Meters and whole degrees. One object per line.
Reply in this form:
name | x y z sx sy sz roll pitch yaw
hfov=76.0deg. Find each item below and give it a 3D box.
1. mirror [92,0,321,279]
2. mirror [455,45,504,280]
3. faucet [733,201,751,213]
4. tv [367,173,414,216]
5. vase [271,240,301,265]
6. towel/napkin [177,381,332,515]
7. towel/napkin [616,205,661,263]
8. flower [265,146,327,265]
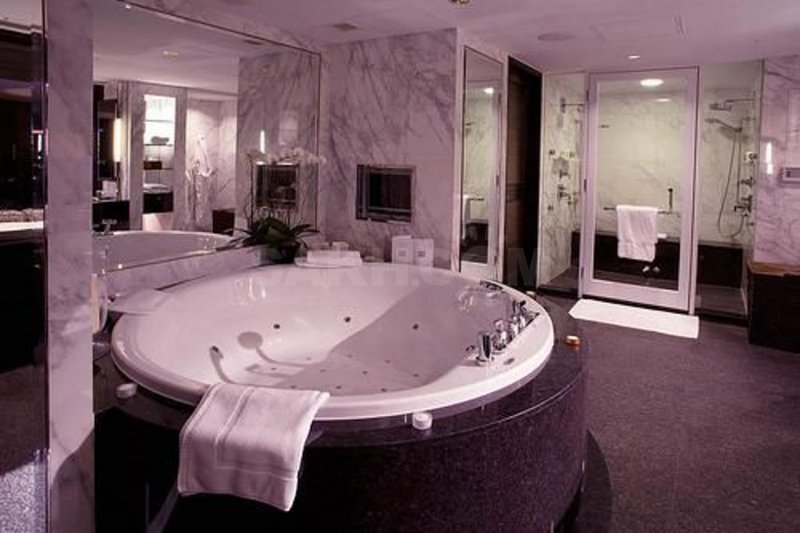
mirror | -1.384 -0.894 3.564 0.076 1.779 1.773 8 12 33
mirror | 0.744 -0.860 4.601 0.262 1.995 0.804 9 16 30
faucet | 3.807 -0.661 5.733 0.214 0.111 0.312 -1 10 32
tv | -0.111 -0.623 4.362 0.537 0.451 0.051 -6 7 -44
vase | -0.914 -0.128 4.113 0.183 0.130 0.178 -7 11 -34
towel/napkin | -0.569 0.614 1.999 0.511 0.172 0.557 11 25 15
towel/napkin | 2.498 -0.344 5.371 0.518 0.675 0.116 7 10 35
flower | -0.929 -0.457 4.272 0.493 0.961 0.511 2 -3 38
